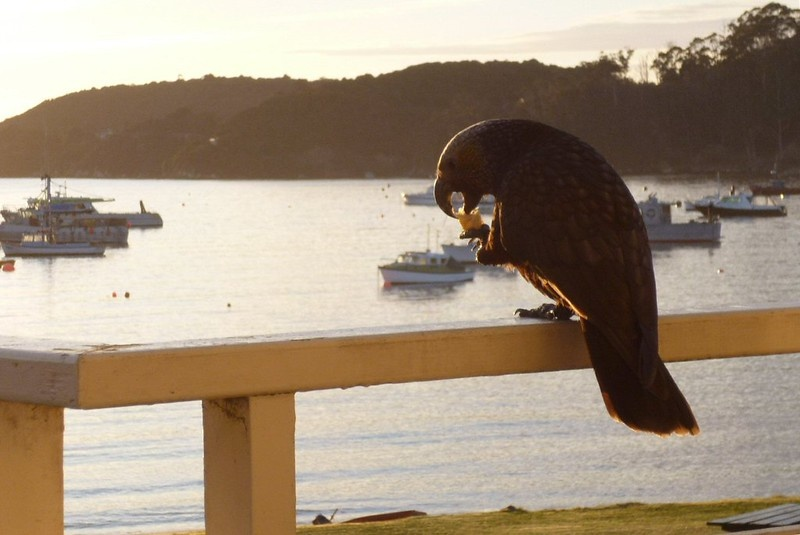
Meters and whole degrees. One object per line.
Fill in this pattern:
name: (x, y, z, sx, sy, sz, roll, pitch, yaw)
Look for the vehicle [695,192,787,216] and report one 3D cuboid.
vehicle: (34.362, -6.484, 202.339, 11.668, 2.605, 3.635, 0, -5, -24)
